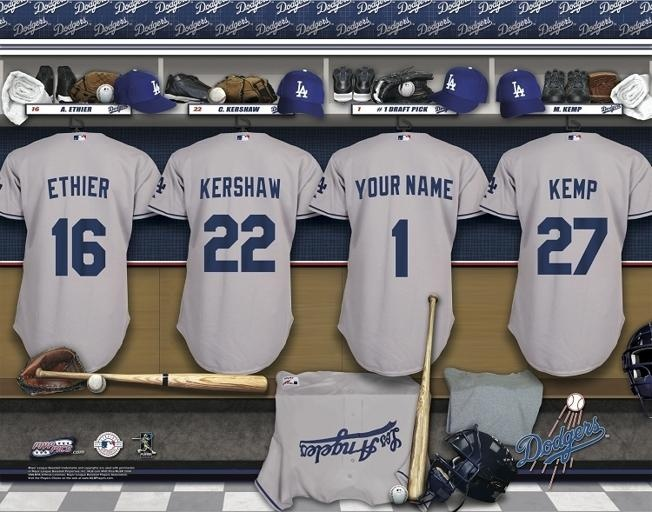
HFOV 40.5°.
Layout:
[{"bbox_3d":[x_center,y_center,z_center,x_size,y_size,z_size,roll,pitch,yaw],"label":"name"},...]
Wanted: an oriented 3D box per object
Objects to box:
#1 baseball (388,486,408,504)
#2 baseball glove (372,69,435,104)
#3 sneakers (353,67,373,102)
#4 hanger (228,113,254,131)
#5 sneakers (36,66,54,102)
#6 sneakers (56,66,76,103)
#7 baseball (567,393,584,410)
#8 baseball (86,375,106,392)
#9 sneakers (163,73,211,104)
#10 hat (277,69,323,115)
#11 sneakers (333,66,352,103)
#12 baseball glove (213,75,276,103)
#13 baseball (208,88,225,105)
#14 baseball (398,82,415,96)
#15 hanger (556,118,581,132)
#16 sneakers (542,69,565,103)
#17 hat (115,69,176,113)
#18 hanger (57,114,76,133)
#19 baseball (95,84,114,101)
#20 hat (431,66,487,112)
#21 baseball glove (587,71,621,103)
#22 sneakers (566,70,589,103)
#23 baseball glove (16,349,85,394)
[{"bbox_3d":[0.401,1.300,4.812,0.104,0.090,0.054,-11,-8,2],"label":"baseball"},{"bbox_3d":[0.441,-0.959,5.022,0.369,0.177,0.238,2,17,11],"label":"baseball glove"},{"bbox_3d":[0.218,-0.948,5.047,0.139,0.070,0.224,0,26,6],"label":"sneakers"},{"bbox_3d":[-0.477,-0.758,5.041,0.114,0.066,0.116,1,-1,-9],"label":"hanger"},{"bbox_3d":[-1.612,-0.973,5.066,0.084,0.207,0.093,0,-16,-21],"label":"sneakers"},{"bbox_3d":[-1.487,-0.975,5.035,0.124,0.213,0.097,-7,-1,-27],"label":"sneakers"},{"bbox_3d":[1.444,0.840,5.064,0.112,0.105,0.063,0,6,2],"label":"baseball"},{"bbox_3d":[-1.302,0.719,5.009,0.112,0.098,0.037,2,-8,-3],"label":"baseball"},{"bbox_3d":[-0.764,-0.938,5.003,0.340,0.128,0.117,2,25,-4],"label":"sneakers"},{"bbox_3d":[-0.141,-0.894,4.850,0.289,0.140,0.359,3,-14,10],"label":"hat"},{"bbox_3d":[0.101,-0.936,5.030,0.134,0.071,0.221,-3,22,1],"label":"sneakers"},{"bbox_3d":[-0.441,-0.932,4.969,0.343,0.150,0.129,-1,6,-4],"label":"baseball glove"},{"bbox_3d":[-0.596,-0.883,4.953,0.100,0.089,0.093,-11,-25,-8],"label":"baseball"},{"bbox_3d":[0.456,-0.924,4.912,0.089,0.080,0.040,0,6,4],"label":"baseball"},{"bbox_3d":[1.412,-0.750,5.068,0.110,0.095,0.026,3,-29,7],"label":"hanger"},{"bbox_3d":[1.290,-0.946,4.959,0.123,0.194,0.131,1,6,15],"label":"sneakers"},{"bbox_3d":[-1.011,-0.945,4.976,0.414,0.195,0.257,21,32,29],"label":"hat"},{"bbox_3d":[-1.493,-0.761,5.074,0.099,0.125,0.087,-2,8,-22],"label":"hanger"},{"bbox_3d":[-1.240,-0.912,4.967,0.103,0.105,0.046,-1,6,-8],"label":"baseball"},{"bbox_3d":[0.752,-0.953,4.949,0.302,0.177,0.373,25,38,32],"label":"hat"},{"bbox_3d":[1.575,-0.957,5.002,0.166,0.187,0.071,0,-6,11],"label":"baseball glove"},{"bbox_3d":[1.418,-0.943,4.938,0.134,0.196,0.127,1,6,14],"label":"sneakers"},{"bbox_3d":[-1.543,0.654,4.992,0.349,0.245,0.139,-9,9,-12],"label":"baseball glove"}]
